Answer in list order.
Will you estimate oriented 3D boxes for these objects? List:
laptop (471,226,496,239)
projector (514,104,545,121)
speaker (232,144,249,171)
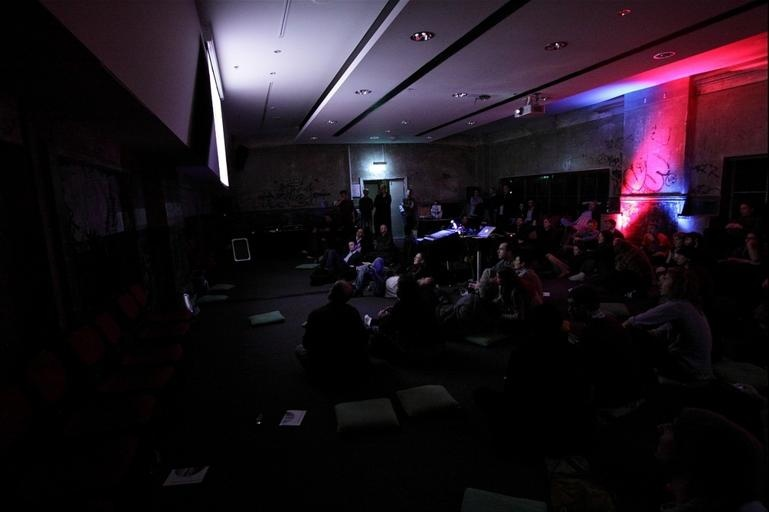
[{"bbox_3d":[2.049,-0.463,10.673,0.322,0.083,0.351,-23,8,11],"label":"laptop"},{"bbox_3d":[3.111,-3.116,11.269,0.449,0.181,0.613,-3,7,-19],"label":"projector"},{"bbox_3d":[-4.320,-2.944,15.732,0.489,0.738,0.946,-5,9,-14],"label":"speaker"}]
